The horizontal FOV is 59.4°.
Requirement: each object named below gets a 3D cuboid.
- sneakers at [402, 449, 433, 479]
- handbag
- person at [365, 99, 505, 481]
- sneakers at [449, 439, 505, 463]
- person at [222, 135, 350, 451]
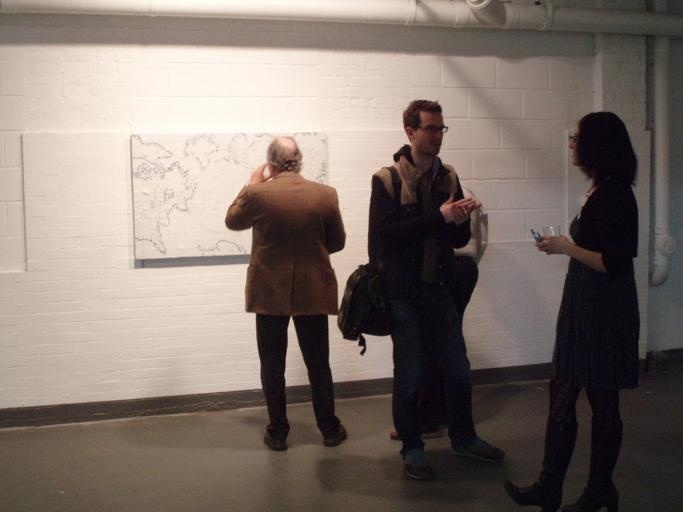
[{"bbox_3d":[0.466,1.266,3.616,0.101,0.089,0.210,0,-6,-18],"label":"sneakers"},{"bbox_3d":[0.126,0.292,3.884,0.358,0.599,0.618,1,-2,-11],"label":"handbag"},{"bbox_3d":[0.537,0.184,3.682,0.597,2.243,0.515,-6,10,-23],"label":"person"},{"bbox_3d":[0.876,1.232,3.834,0.336,0.133,0.123,-1,3,21],"label":"sneakers"},{"bbox_3d":[-0.340,0.376,4.008,0.752,1.836,0.302,-1,10,0],"label":"person"}]
